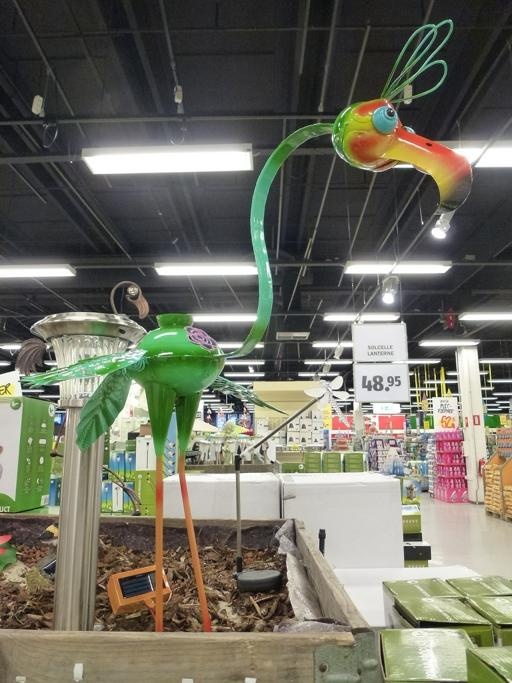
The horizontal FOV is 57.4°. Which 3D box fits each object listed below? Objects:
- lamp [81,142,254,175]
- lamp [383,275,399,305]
[{"bbox_3d":[-0.810,-1.683,4.353,1.538,0.105,0.424,-2,-9,0],"label":"lamp"},{"bbox_3d":[1.903,-0.748,6.566,0.231,0.457,0.486,-5,-10,16],"label":"lamp"}]
